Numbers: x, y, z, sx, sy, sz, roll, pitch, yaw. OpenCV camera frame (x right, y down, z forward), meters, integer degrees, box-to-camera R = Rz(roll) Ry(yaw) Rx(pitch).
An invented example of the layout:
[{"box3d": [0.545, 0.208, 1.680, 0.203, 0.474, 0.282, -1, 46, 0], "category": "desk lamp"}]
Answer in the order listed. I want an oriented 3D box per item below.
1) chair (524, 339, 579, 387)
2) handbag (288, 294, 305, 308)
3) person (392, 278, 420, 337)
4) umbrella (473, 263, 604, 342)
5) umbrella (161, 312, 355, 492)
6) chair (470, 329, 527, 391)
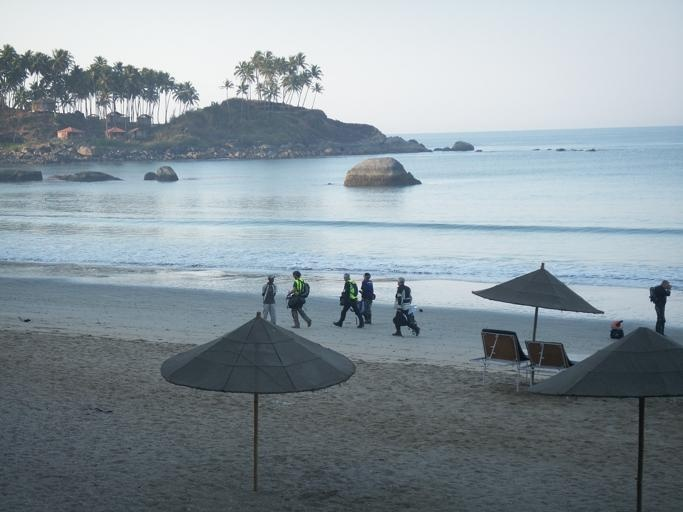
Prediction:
[{"box3d": [5.275, 2.717, 24.060, 1.069, 0.943, 1.826, -1, -9, 37], "category": "chair"}, {"box3d": [-1.307, 1.338, 28.602, 0.438, 0.337, 0.434, 3, 5, 29], "category": "handbag"}, {"box3d": [1.899, 1.455, 28.530, 0.763, 1.653, 1.559, 0, 6, 4], "category": "person"}, {"box3d": [4.886, 1.230, 24.453, 3.269, 1.822, 3.342, -1, 10, -45], "category": "umbrella"}, {"box3d": [-1.725, 2.674, 20.264, 4.081, 2.417, 3.366, 2, 14, 8], "category": "umbrella"}, {"box3d": [4.404, 2.555, 24.653, 1.629, 1.311, 1.799, 3, -1, 45], "category": "chair"}]
